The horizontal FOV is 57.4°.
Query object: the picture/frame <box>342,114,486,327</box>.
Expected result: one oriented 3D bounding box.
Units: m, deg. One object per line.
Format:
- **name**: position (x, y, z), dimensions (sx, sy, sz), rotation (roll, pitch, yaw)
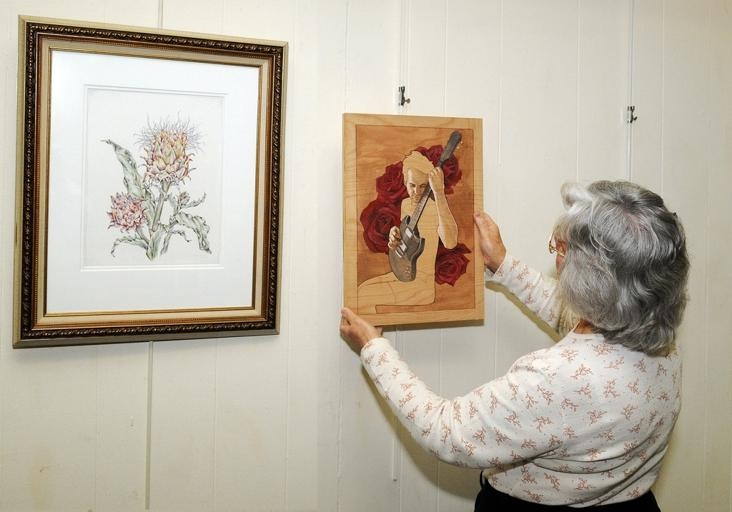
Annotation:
- **picture/frame**: position (0.132, -0.116, 2.020), dimensions (0.595, 0.879, 0.066), rotation (0, -3, -15)
